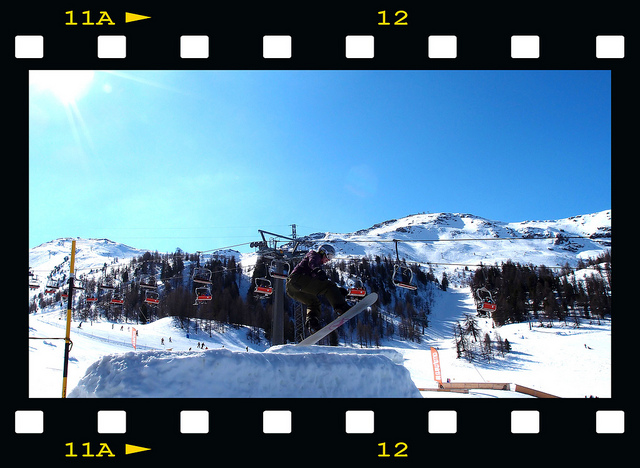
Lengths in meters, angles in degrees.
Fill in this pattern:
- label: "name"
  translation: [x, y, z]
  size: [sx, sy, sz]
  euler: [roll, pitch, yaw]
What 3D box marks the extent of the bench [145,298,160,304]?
- label: "bench"
  translation: [-9.718, 3.773, 33.068]
  size: [0.590, 0.236, 3.729]
  euler: [4, -8, -13]
